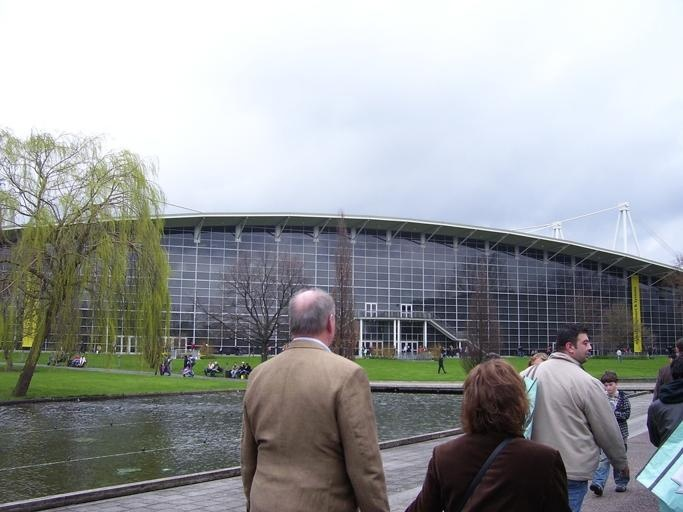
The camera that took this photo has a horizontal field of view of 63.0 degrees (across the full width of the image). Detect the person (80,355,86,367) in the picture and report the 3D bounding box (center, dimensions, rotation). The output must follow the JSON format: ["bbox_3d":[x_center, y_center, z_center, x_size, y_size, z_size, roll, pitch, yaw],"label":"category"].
[{"bbox_3d":[-19.668,8.033,42.683,0.529,0.863,0.322,1,32,-8],"label":"person"}]

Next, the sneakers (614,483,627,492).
[{"bbox_3d":[3.940,3.273,7.903,0.079,0.096,0.230,-9,-23,27],"label":"sneakers"}]
